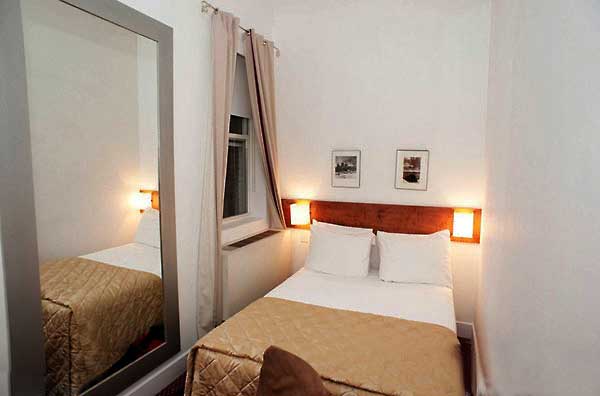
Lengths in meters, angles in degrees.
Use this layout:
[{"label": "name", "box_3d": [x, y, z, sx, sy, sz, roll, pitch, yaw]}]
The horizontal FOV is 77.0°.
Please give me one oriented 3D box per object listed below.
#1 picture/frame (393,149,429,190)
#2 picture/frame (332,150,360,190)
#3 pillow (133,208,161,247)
[{"label": "picture/frame", "box_3d": [1.254, -0.324, 4.209, 0.422, 0.556, 0.021, 3, 3, 22]}, {"label": "picture/frame", "box_3d": [0.556, -0.353, 4.476, 0.437, 0.539, 0.019, 2, 4, 26]}, {"label": "pillow", "box_3d": [-1.253, 0.259, 3.149, 0.075, 0.265, 0.260, 1, -4, 28]}]
